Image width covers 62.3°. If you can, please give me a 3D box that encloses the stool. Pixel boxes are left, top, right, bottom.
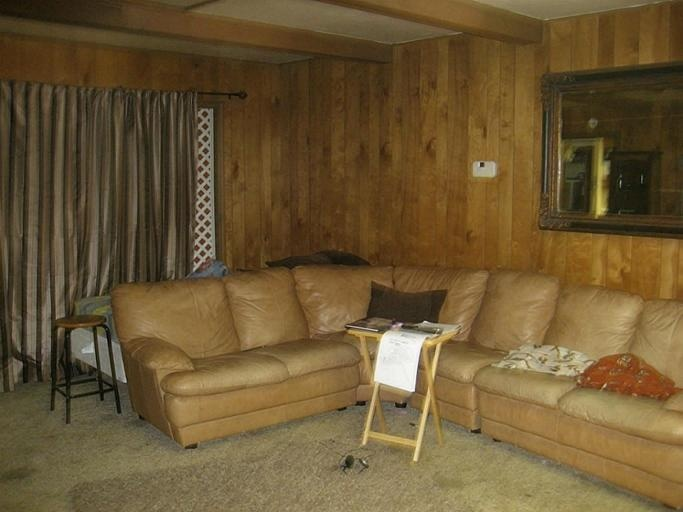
[{"bbox_3d":[-2.057,0.884,4.465,0.610,0.714,0.576,-1,3,4],"label":"stool"}]

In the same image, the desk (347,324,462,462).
[{"bbox_3d":[0.408,0.926,3.851,0.648,0.753,0.555,0,-2,31],"label":"desk"}]
